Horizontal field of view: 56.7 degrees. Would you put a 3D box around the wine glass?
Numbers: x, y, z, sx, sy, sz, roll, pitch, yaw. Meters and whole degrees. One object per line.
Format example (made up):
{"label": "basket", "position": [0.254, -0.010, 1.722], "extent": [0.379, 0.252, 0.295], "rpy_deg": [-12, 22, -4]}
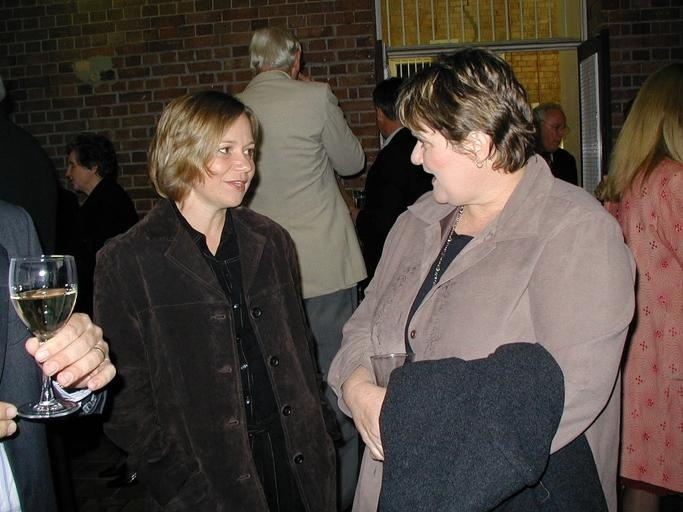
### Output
{"label": "wine glass", "position": [-0.867, 0.230, 1.855], "extent": [0.209, 0.455, 0.262], "rpy_deg": [-8, 10, -25]}
